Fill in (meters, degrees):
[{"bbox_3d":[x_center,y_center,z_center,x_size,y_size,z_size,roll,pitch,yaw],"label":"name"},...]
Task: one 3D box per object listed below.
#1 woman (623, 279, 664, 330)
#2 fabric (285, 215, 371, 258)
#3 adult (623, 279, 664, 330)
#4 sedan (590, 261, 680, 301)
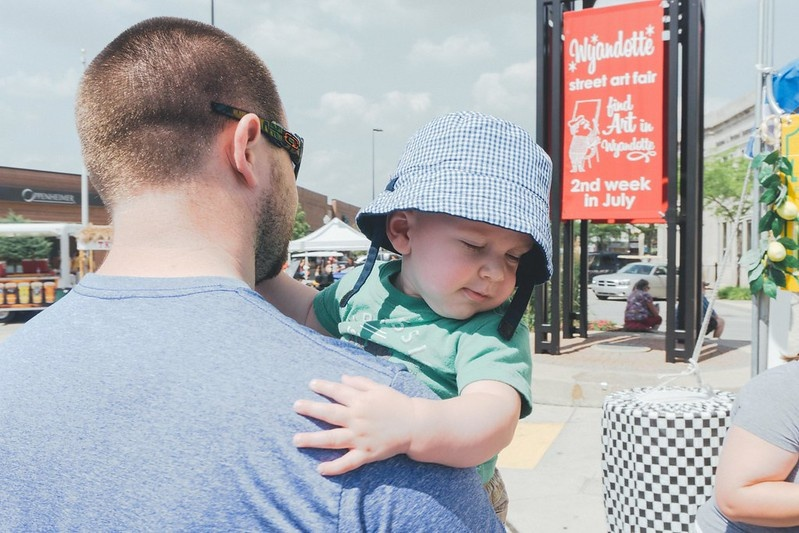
[{"bbox_3d":[4.300,0.724,14.017,0.598,0.918,0.695,0,5,19],"label":"woman"},{"bbox_3d":[-1.871,-0.986,22.343,2.375,0.882,2.316,1,16,-2],"label":"fabric"},{"bbox_3d":[4.290,0.724,14.024,0.580,0.918,0.730,1,5,25],"label":"adult"},{"bbox_3d":[7.242,0.420,24.310,2.786,0.885,1.391,1,-1,-45],"label":"sedan"}]
